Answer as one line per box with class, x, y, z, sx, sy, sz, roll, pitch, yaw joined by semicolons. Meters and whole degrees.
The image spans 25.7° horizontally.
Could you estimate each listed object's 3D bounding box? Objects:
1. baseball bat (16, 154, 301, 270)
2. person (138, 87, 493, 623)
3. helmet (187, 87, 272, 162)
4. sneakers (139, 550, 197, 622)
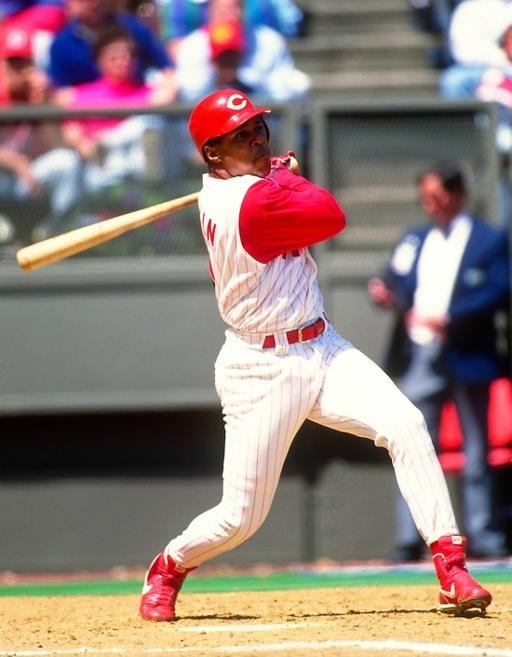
baseball bat;-0.386;-0.419;3.909;1.353;0.135;0.142;-20;6;-4
person;0.042;0.146;3.188;0.794;1.309;1.194;-13;42;-14
helmet;-0.114;-0.569;3.209;0.230;0.114;0.165;-29;9;34
sneakers;-0.250;0.772;3.431;0.199;0.097;0.259;-33;40;26
